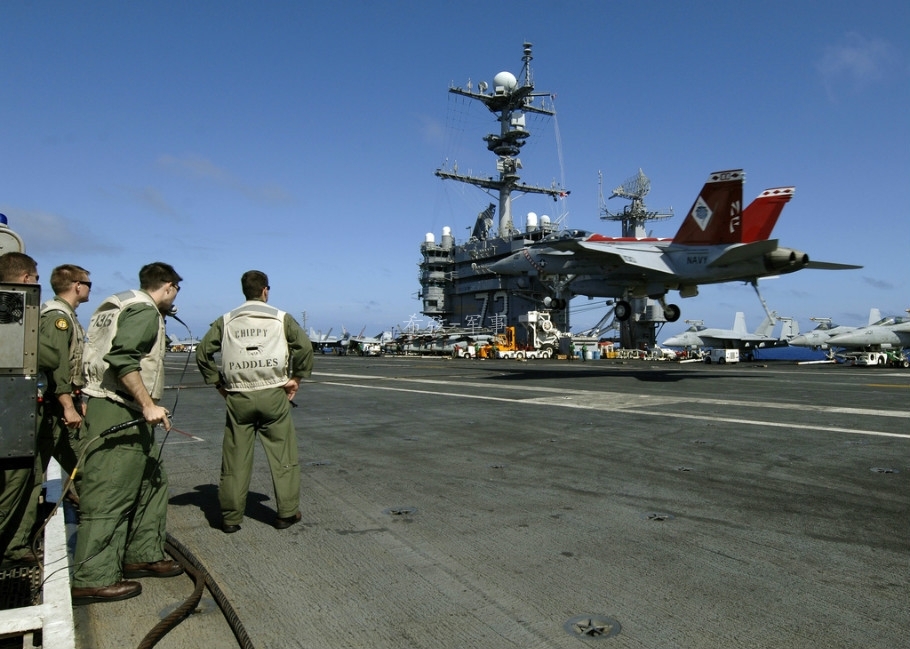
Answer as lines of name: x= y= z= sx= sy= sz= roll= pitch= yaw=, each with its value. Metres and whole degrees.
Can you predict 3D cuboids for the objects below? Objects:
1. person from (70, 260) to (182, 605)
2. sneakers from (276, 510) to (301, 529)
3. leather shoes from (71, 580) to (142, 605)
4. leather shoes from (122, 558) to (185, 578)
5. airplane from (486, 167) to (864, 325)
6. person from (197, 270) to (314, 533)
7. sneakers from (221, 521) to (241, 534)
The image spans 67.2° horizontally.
person: x=-2.740 y=0.817 z=5.763 sx=0.805 sy=2.657 sz=0.778 roll=-1 pitch=1 yaw=-20
sneakers: x=-1.602 y=1.878 z=6.691 sx=0.107 sy=0.091 sz=0.274 roll=2 pitch=3 yaw=24
leather shoes: x=-2.730 y=2.085 z=5.401 sx=0.495 sy=0.151 sz=0.148 roll=0 pitch=-3 yaw=-14
leather shoes: x=-2.553 y=2.029 z=5.839 sx=0.498 sy=0.142 sz=0.148 roll=-1 pitch=-1 yaw=-7
airplane: x=6.656 y=-2.362 z=23.486 sx=9.088 sy=2.561 sz=7.228 roll=3 pitch=3 yaw=40
person: x=-1.924 y=0.722 z=6.654 sx=1.049 sy=2.449 sz=0.638 roll=-1 pitch=1 yaw=-9
sneakers: x=-2.119 y=1.919 z=6.535 sx=0.246 sy=0.118 sz=0.070 roll=-1 pitch=3 yaw=-17
